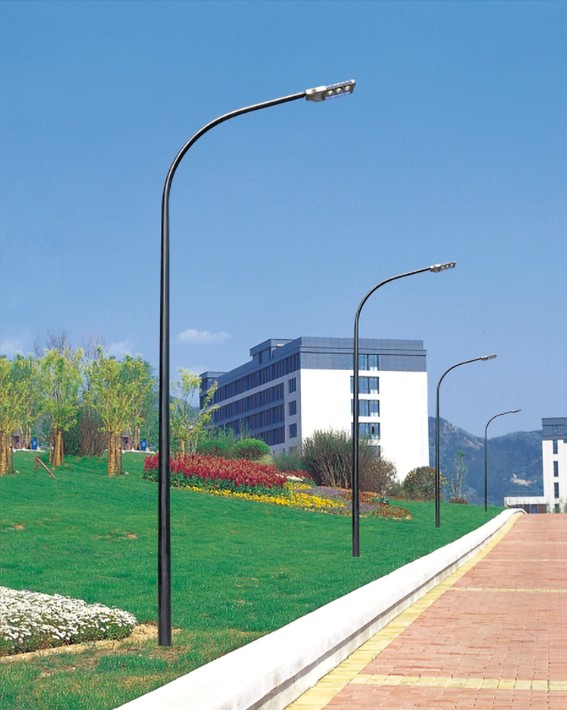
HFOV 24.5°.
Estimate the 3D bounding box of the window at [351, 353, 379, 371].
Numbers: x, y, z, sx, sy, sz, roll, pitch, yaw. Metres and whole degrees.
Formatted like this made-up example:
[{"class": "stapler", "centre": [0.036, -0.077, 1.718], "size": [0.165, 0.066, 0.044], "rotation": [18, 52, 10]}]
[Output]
[{"class": "window", "centre": [6.186, 0.575, 95.912], "size": [1.272, 1.804, 1.566], "rotation": [2, -3, -12]}]
